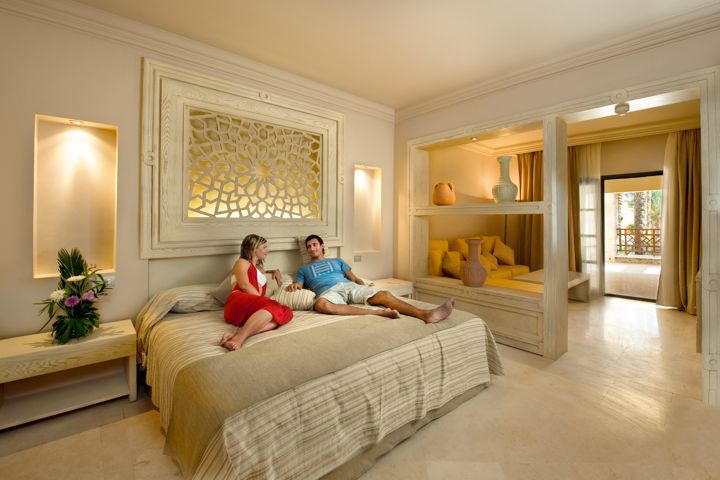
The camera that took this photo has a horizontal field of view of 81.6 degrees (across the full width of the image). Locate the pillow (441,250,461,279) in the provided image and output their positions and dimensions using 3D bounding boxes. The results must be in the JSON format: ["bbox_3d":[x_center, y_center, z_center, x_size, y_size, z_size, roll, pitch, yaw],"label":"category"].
[{"bbox_3d":[1.443,0.360,6.485,0.358,0.355,0.135,16,-30,-27],"label":"pillow"}]

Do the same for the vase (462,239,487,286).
[{"bbox_3d":[1.547,0.295,5.590,0.315,0.633,0.248,3,11,15],"label":"vase"}]

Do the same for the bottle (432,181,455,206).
[{"bbox_3d":[1.204,-0.666,6.056,0.323,0.313,0.325,-1,4,5],"label":"bottle"}]

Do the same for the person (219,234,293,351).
[{"bbox_3d":[-1.095,0.542,4.264,0.510,0.860,0.934,-2,-9,7],"label":"person"}]

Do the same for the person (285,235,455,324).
[{"bbox_3d":[-0.030,0.265,4.576,0.913,0.597,1.428,1,5,-39],"label":"person"}]

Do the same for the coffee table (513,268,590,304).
[{"bbox_3d":[2.676,0.641,5.756,0.428,0.301,0.677,0,2,42],"label":"coffee table"}]
